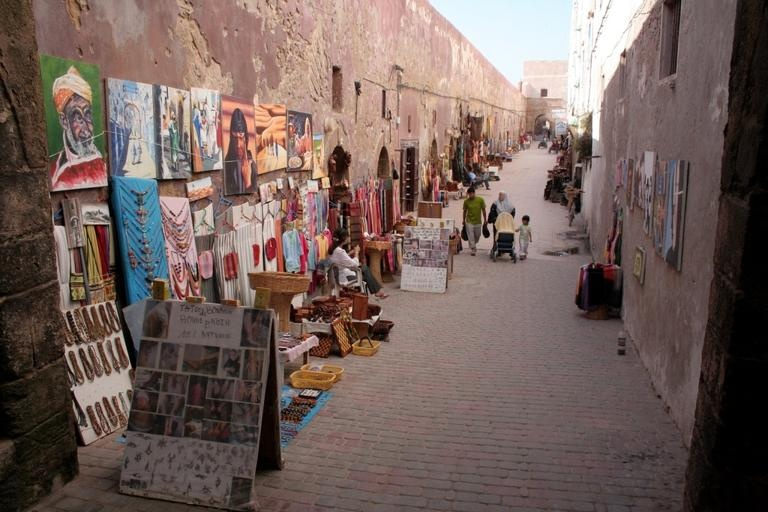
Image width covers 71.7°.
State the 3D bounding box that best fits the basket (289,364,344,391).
[{"bbox_3d":[-0.931,1.668,7.344,0.631,0.194,0.724,8,14,29],"label":"basket"}]

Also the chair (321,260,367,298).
[{"bbox_3d":[-0.804,0.484,10.506,0.737,1.040,0.656,-3,5,-9],"label":"chair"}]

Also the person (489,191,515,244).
[{"bbox_3d":[3.495,-1.029,16.058,0.801,1.820,0.612,3,17,0],"label":"person"}]

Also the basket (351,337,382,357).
[{"bbox_3d":[-0.293,1.464,8.552,0.415,0.147,0.501,6,13,20],"label":"basket"}]

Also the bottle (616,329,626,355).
[{"bbox_3d":[3.822,1.407,8.544,0.128,0.361,0.232,6,13,25],"label":"bottle"}]

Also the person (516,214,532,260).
[{"bbox_3d":[4.036,-0.579,15.498,0.401,1.316,1.281,4,12,14],"label":"person"}]
